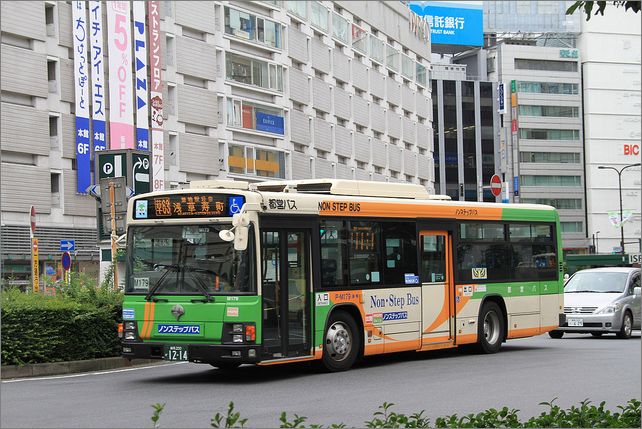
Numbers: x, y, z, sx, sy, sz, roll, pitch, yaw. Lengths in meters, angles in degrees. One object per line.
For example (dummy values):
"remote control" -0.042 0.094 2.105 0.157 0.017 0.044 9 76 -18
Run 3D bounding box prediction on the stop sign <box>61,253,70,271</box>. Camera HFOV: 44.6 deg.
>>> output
"stop sign" -10.209 1.893 31.229 0.228 0.715 0.706 0 -5 -23

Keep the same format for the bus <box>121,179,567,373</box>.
"bus" 0.871 1.374 19.169 11.307 3.467 3.904 6 -8 -41

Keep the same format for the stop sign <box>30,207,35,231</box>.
"stop sign" -11.729 0.222 31.770 0.119 0.982 1.333 0 -6 -23
